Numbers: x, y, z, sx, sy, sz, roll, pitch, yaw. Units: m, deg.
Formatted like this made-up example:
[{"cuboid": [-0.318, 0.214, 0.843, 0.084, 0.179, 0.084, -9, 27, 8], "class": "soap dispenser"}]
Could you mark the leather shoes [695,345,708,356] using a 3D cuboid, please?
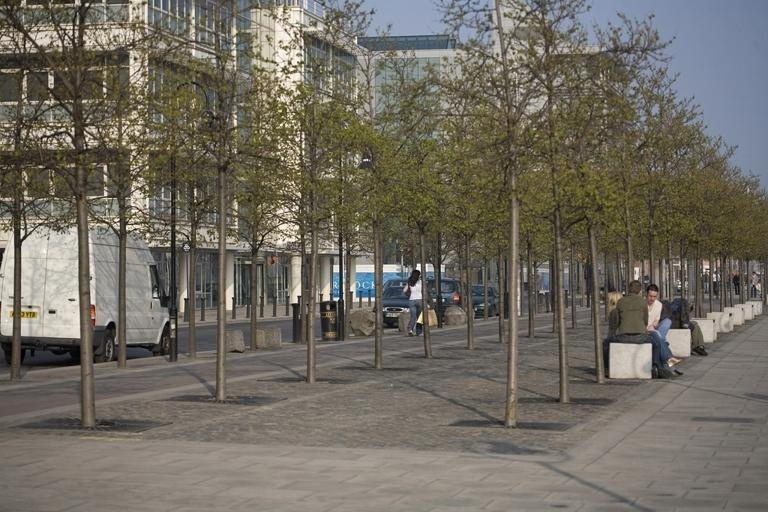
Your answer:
[{"cuboid": [8.037, 2.379, 26.458, 0.153, 0.187, 0.462, -1, -4, -9], "class": "leather shoes"}]

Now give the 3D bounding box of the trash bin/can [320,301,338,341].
[{"cuboid": [-1.706, 2.047, 33.364, 0.534, 1.253, 0.533, -1, -4, -9], "class": "trash bin/can"}]
